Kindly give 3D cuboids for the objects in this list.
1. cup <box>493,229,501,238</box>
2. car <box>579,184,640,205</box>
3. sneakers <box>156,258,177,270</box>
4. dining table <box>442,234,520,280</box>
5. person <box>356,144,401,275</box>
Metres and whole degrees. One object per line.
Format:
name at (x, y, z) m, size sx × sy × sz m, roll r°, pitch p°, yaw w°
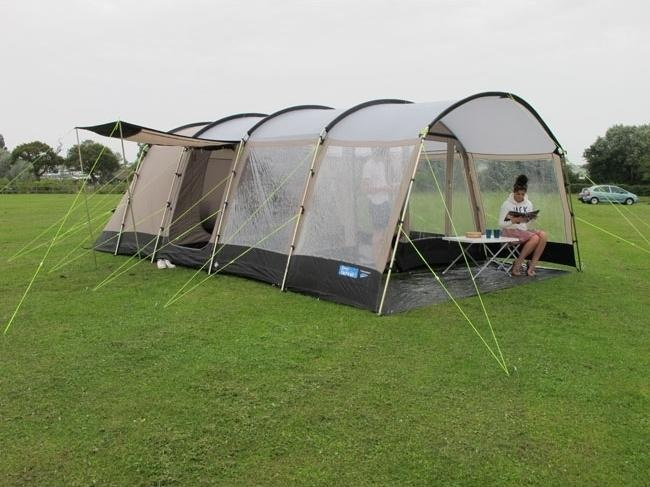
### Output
cup at (3.166, -0.191, 8.399) m, size 0.145 × 0.151 × 0.143 m, roll -1°, pitch 0°, yaw 0°
car at (18.227, -3.141, 29.584) m, size 2.963 × 1.319 × 5.306 m, roll 9°, pitch 14°, yaw 35°
sneakers at (-3.138, 0.389, 8.945) m, size 0.188 × 0.085 × 0.283 m, roll -2°, pitch 16°, yaw -45°
dining table at (2.936, 0.245, 8.786) m, size 1.303 × 0.590 × 0.811 m, roll 1°, pitch 4°, yaw -34°
person at (0.815, -0.588, 6.681) m, size 0.589 × 1.602 × 0.902 m, roll 1°, pitch 12°, yaw 4°
